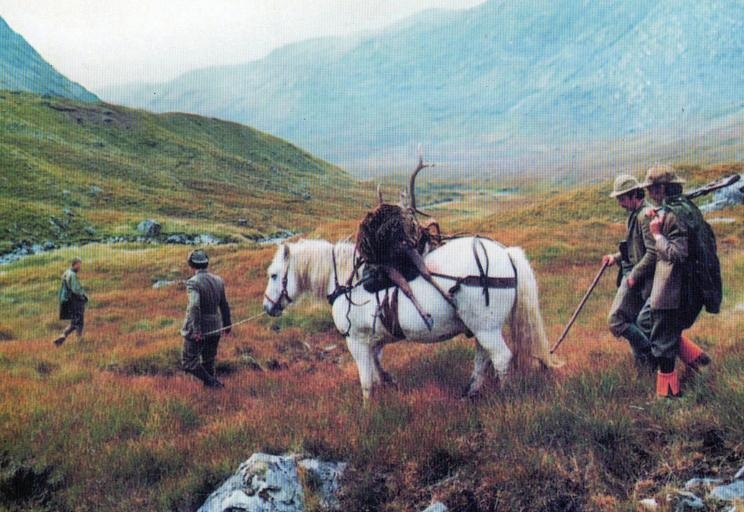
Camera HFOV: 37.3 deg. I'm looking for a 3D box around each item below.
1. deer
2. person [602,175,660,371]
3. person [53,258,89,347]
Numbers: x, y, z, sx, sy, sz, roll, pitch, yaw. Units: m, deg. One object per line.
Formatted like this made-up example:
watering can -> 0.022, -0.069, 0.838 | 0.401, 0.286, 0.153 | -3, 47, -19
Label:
deer -> 0.570, -0.203, 20.519 | 1.427, 3.583, 1.647 | -1, 16, -22
person -> 4.915, 0.454, 20.921 | 0.899, 4.073, 1.254 | 0, -4, 5
person -> -6.021, 0.907, 22.137 | 0.921, 1.581, 0.631 | -13, 10, -40
